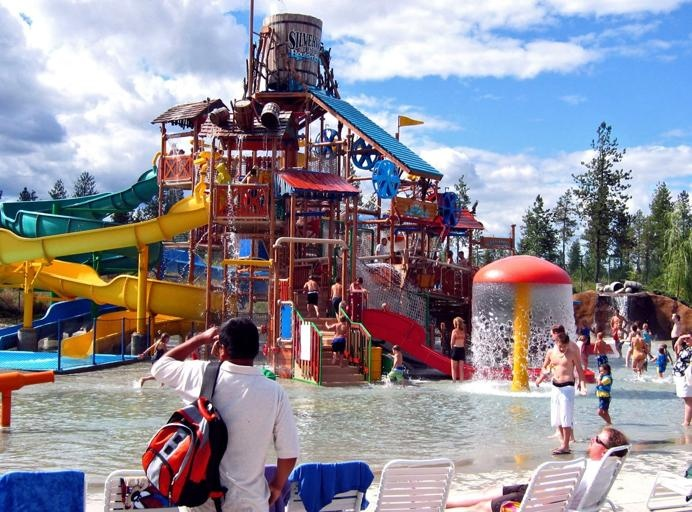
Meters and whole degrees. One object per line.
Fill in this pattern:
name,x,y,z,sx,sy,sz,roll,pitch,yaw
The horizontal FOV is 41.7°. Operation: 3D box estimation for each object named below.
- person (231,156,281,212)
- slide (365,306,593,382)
person,-2.615,-1.928,26.157,0.991,1.497,1.718,0,9,-18
slide,3.416,2.441,23.918,5.359,2.154,1.033,-1,4,12
